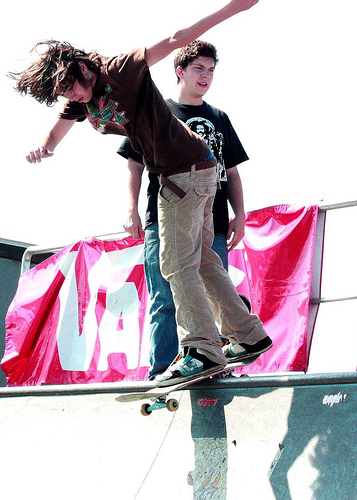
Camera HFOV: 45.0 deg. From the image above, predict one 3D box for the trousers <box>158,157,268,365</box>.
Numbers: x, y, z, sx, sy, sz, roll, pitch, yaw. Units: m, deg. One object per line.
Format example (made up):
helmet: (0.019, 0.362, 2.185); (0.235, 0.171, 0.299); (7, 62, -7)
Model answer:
trousers: (0.135, 0.029, 1.857); (0.384, 0.798, 0.464); (-4, 9, -27)

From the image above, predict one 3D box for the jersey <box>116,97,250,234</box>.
jersey: (0.083, -0.630, 2.713); (0.761, 0.832, 0.304); (13, 48, 0)

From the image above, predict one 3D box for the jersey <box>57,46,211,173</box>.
jersey: (-0.147, -0.527, 1.820); (0.504, 0.508, 0.135); (-25, 34, 27)

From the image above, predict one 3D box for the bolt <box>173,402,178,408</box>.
bolt: (-0.012, 0.561, 1.561); (0.014, 0.014, 0.005); (-4, 8, -32)

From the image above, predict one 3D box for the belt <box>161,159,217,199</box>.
belt: (0.064, -0.324, 1.908); (0.211, 0.087, 0.170); (-25, 6, 11)

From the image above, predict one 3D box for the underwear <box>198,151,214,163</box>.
underwear: (0.128, -0.423, 1.999); (0.056, 0.057, 0.058); (-5, -6, -11)
